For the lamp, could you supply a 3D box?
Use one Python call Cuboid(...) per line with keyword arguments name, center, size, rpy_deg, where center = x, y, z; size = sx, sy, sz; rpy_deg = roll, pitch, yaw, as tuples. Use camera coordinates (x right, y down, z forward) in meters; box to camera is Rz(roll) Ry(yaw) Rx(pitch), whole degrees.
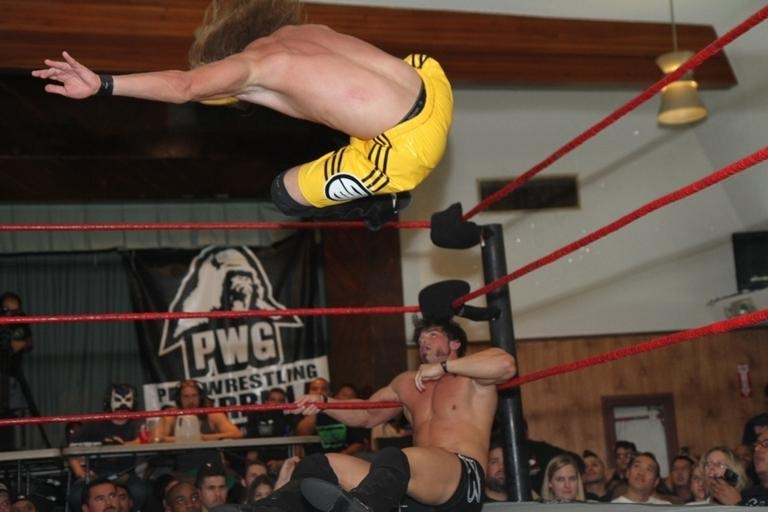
Cuboid(name="lamp", center=(2.305, -1.467, 6.134), size=(0.338, 0.930, 1.163), rpy_deg=(-8, -13, 21))
